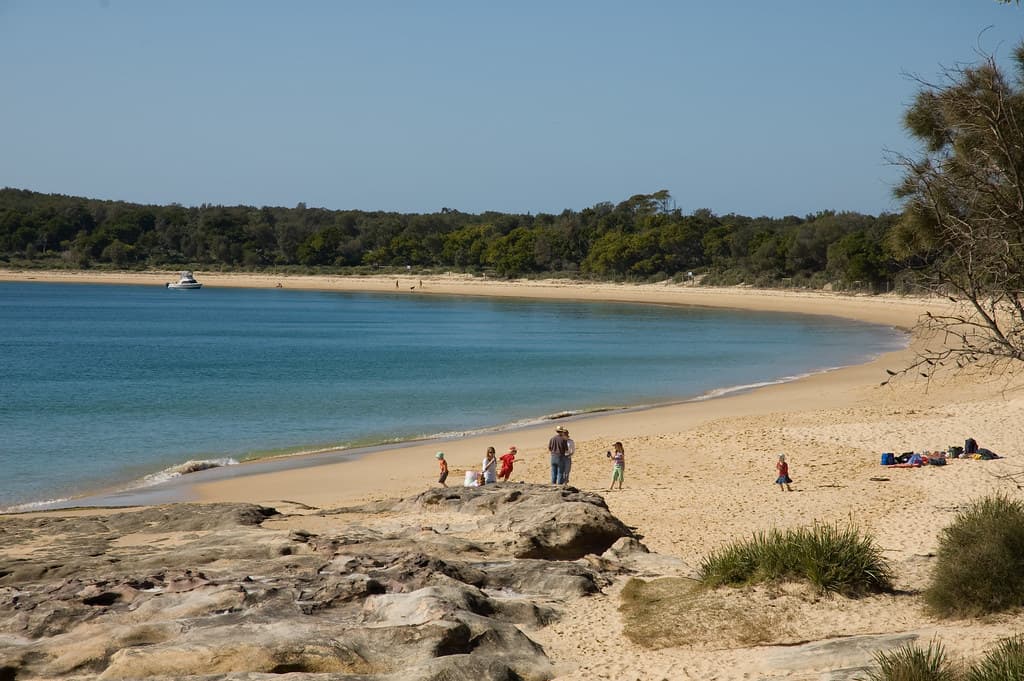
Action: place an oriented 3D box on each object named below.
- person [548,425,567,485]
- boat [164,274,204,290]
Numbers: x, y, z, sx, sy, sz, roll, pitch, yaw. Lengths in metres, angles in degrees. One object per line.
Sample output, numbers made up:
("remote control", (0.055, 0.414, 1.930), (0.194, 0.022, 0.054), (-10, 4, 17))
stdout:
("person", (1.193, 3.013, 25.126), (0.437, 1.444, 0.314), (-4, 7, 6))
("boat", (-51.689, -8.792, 153.498), (3.613, 2.313, 6.741), (-8, 7, -37))
